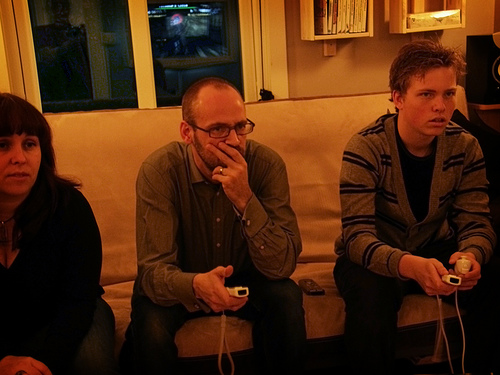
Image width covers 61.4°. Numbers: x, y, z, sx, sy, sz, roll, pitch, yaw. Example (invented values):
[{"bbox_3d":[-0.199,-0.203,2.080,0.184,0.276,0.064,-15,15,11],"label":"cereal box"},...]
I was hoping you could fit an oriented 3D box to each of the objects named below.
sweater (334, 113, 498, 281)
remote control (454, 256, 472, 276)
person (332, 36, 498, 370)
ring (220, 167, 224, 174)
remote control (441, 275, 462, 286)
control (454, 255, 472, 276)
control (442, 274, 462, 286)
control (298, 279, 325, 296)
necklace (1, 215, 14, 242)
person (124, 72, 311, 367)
[{"bbox_3d":[0.621,0.038,1.923,0.679,0.686,0.649,-3,7,-6],"label":"sweater"},{"bbox_3d":[0.775,0.286,1.530,0.055,0.072,0.054,7,-12,-15],"label":"remote control"},{"bbox_3d":[0.658,0.106,1.635,0.653,1.322,0.621,-2,12,11],"label":"person"},{"bbox_3d":[-0.102,-0.061,1.534,0.014,0.013,0.014,2,-1,0],"label":"ring"},{"bbox_3d":[0.708,0.313,1.460,0.036,0.021,0.052,7,5,-7],"label":"remote control"},{"bbox_3d":[0.776,0.286,1.530,0.052,0.074,0.057,-2,-8,25],"label":"control"},{"bbox_3d":[0.709,0.315,1.462,0.035,0.020,0.050,11,3,-5],"label":"control"},{"bbox_3d":[0.263,0.426,1.798,0.085,0.032,0.140,-7,13,-12],"label":"control"},{"bbox_3d":[-0.822,0.140,1.424,0.038,0.078,0.039,-7,12,-12],"label":"necklace"},{"bbox_3d":[-0.143,0.132,1.549,0.635,1.034,0.538,-4,12,2],"label":"person"}]
